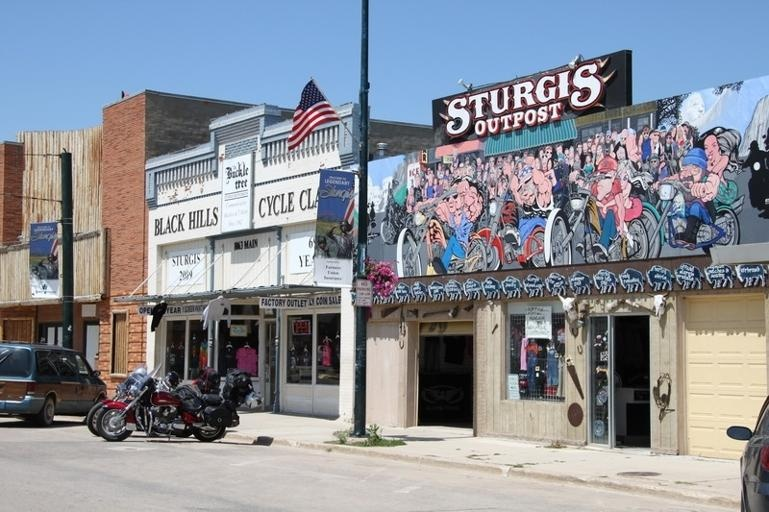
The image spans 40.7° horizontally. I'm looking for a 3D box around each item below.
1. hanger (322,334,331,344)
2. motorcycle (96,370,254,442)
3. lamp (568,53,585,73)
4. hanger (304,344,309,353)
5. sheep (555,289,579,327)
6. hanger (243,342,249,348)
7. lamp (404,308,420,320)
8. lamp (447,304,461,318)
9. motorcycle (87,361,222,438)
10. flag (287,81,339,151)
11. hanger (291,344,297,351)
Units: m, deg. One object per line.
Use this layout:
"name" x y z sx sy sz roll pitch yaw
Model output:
"hanger" -1.796 2.589 32.008 0.193 0.383 0.253 4 -8 4
"motorcycle" -5.313 3.924 26.522 3.803 1.761 1.792 4 -8 -9
"lamp" 4.763 -4.813 25.627 0.331 0.338 0.558 -1 -11 3
"hanger" -2.477 2.914 32.680 0.303 0.296 0.026 -11 -14 41
"sheep" 4.520 1.318 25.539 0.546 0.760 0.286 -11 -14 43
"hanger" -4.772 3.042 35.615 0.207 0.213 0.048 1 -10 -10
"lamp" 0.774 1.730 29.016 0.458 0.411 0.253 -8 -15 42
"lamp" 1.863 1.504 27.975 0.378 0.327 0.109 -10 -14 40
"motorcycle" -5.614 3.746 25.949 3.129 1.788 0.738 2 -10 -13
"flag" -1.986 -3.916 27.772 0.602 1.439 1.809 8 -14 -40
"hanger" -2.907 2.953 33.194 0.155 0.225 0.071 0 -1 33
